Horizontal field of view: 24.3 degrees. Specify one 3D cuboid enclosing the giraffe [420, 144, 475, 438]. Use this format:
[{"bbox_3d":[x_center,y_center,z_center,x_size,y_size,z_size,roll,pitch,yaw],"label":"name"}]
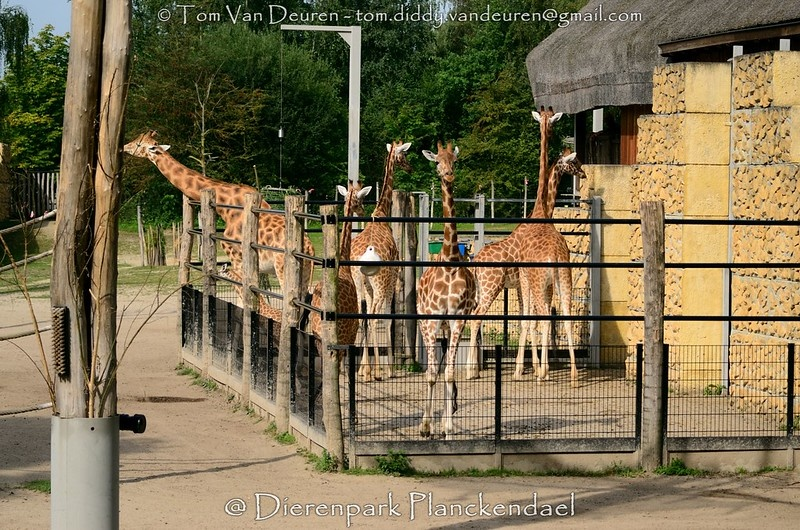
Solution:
[{"bbox_3d":[0.902,0.435,36.125,1.077,5.638,1.754,0,4,1],"label":"giraffe"}]
